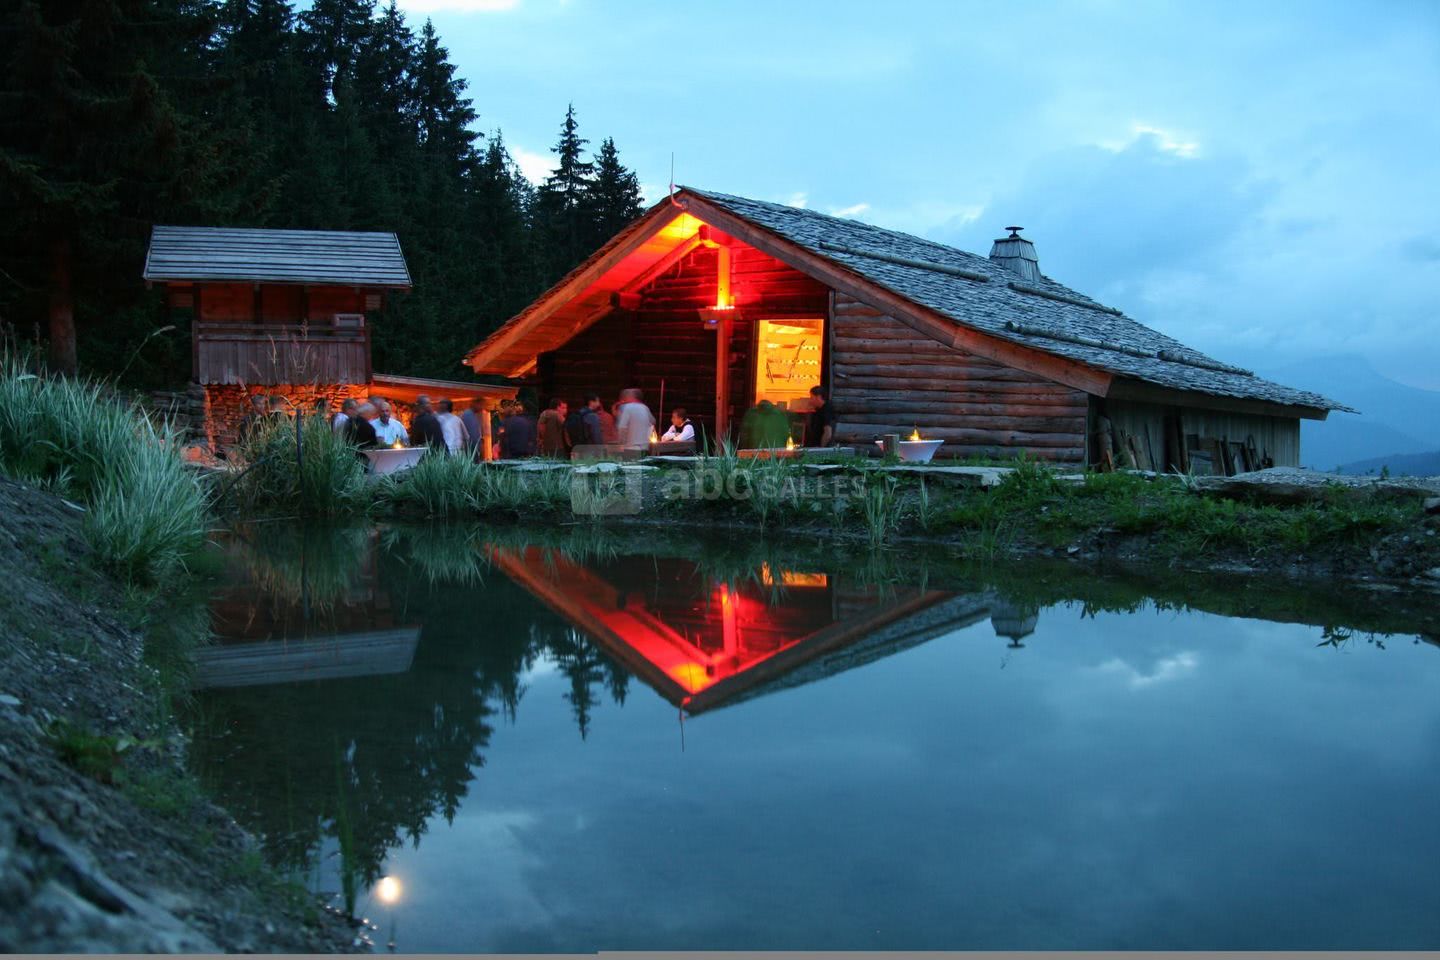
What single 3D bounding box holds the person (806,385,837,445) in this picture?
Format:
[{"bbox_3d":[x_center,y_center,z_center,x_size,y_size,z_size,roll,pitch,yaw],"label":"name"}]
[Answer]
[{"bbox_3d":[1.691,-1.035,19.893,0.449,1.010,1.211,2,8,5],"label":"person"}]
